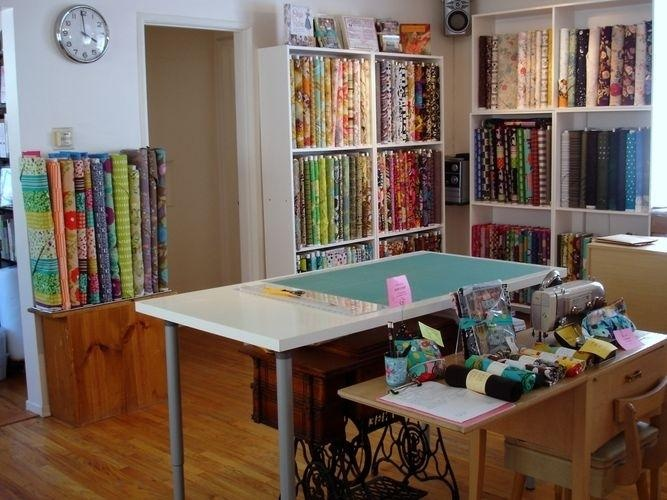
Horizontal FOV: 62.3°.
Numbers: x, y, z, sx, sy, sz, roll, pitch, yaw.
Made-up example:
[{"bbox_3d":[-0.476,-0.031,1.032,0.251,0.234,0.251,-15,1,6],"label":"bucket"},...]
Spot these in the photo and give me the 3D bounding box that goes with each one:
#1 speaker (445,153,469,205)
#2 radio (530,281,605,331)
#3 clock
[{"bbox_3d":[1.413,-0.802,6.238,0.267,0.541,0.277,0,10,14],"label":"speaker"},{"bbox_3d":[1.072,0.240,2.515,0.382,0.190,0.192,-9,9,-31],"label":"radio"},{"bbox_3d":[-1.831,-1.585,4.053,0.364,0.405,0.030,-12,13,-40],"label":"clock"}]
